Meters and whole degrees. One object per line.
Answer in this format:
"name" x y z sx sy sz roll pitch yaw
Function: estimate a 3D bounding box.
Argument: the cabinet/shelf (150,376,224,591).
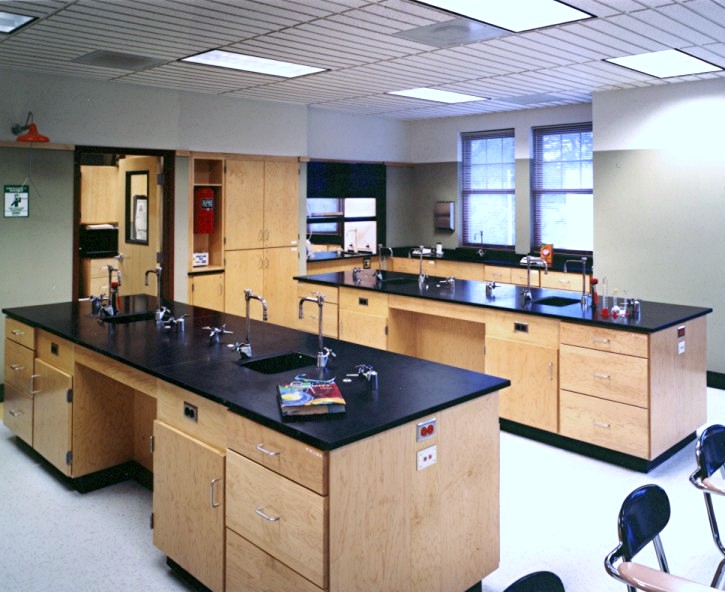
"cabinet/shelf" -0.933 0.997 3.233 0.181 0.968 0.736 -8 14 -40

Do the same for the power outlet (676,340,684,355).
"power outlet" 2.429 0.393 4.630 0.012 0.084 0.114 0 2 43

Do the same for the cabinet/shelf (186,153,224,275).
"cabinet/shelf" -1.973 -1.042 7.578 0.464 1.382 0.526 -4 11 -24

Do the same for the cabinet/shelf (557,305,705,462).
"cabinet/shelf" 2.037 0.693 4.973 0.809 1.045 1.144 -2 2 -40

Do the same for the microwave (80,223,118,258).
"microwave" -3.746 -0.778 8.541 0.640 0.646 0.344 -1 4 -38

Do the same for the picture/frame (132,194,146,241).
"picture/frame" -2.845 -0.996 7.730 0.115 0.492 0.465 1 -2 -14

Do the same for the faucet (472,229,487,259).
"faucet" 1.788 -0.806 9.097 0.138 0.335 0.627 2 11 11

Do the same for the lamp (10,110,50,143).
"lamp" -3.247 -1.598 5.922 0.308 0.344 0.333 1 1 23

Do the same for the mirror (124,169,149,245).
"mirror" -2.905 -1.156 7.783 0.078 1.174 0.993 1 0 -33

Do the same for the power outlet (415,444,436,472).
"power outlet" 0.290 0.762 2.844 0.018 0.100 0.135 1 4 43
